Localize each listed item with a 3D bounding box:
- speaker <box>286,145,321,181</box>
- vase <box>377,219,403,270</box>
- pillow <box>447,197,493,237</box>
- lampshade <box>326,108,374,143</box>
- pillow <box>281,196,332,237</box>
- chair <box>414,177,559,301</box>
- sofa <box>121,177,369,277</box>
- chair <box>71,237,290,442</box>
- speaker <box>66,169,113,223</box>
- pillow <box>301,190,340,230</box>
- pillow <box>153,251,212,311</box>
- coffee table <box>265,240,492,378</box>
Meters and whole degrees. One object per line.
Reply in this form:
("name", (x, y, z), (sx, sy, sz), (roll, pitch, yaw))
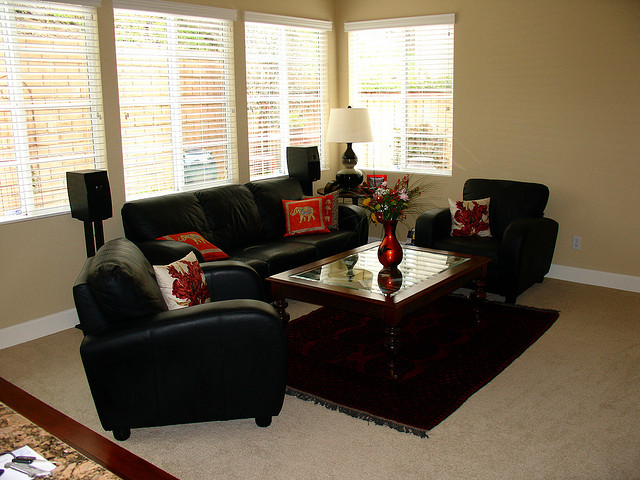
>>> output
("speaker", (-0.201, -0.913, 5.688), (0.524, 0.521, 0.295), (4, 15, 24))
("vase", (0.573, 0.039, 3.883), (0.328, 0.396, 0.312), (-1, 9, 3))
("pillow", (1.570, -0.222, 4.966), (0.452, 0.409, 0.156), (-2, -4, 8))
("lampshade", (0.338, -1.321, 5.550), (0.462, 0.383, 0.453), (-15, 22, -38))
("pillow", (-0.150, -0.237, 5.135), (0.469, 0.384, 0.108), (-3, -20, -9))
("chair", (1.679, -0.076, 4.991), (1.435, 1.296, 1.320), (9, 15, 38))
("sofa", (-0.714, -0.186, 4.763), (1.019, 0.859, 2.322), (8, 14, 44))
("chair", (-0.883, 0.552, 3.112), (1.209, 0.903, 1.189), (0, 12, -16))
("speaker", (-1.975, -0.384, 4.046), (0.342, 0.420, 0.251), (14, 26, 40))
("pillow", (0.098, -0.319, 5.326), (0.409, 0.416, 0.131), (1, -5, -11))
("pillow", (-0.868, 0.293, 3.006), (0.168, 0.336, 0.448), (0, 9, 15))
("coffee table", (0.565, 0.503, 4.089), (1.262, 0.557, 1.657), (7, 14, 37))
